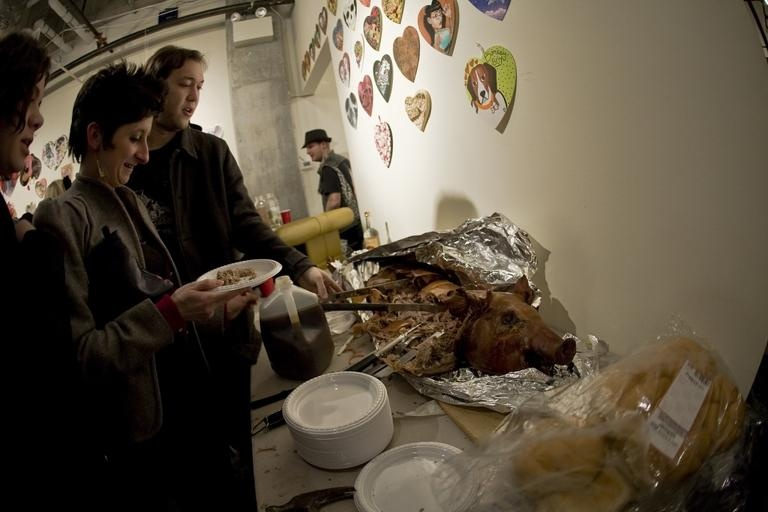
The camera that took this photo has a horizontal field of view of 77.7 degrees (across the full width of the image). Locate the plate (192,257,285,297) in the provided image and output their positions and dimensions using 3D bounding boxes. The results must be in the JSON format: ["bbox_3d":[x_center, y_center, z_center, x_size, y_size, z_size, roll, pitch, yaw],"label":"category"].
[{"bbox_3d":[-0.548,0.031,1.837,0.259,0.153,0.302,10,14,42],"label":"plate"}]

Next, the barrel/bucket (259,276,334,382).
[{"bbox_3d":[-0.311,0.257,1.790,0.207,0.409,0.225,1,15,0],"label":"barrel/bucket"}]

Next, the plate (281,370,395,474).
[{"bbox_3d":[-0.151,0.443,1.474,0.293,0.270,0.297,-1,10,-20],"label":"plate"}]

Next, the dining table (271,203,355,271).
[{"bbox_3d":[-0.551,-0.194,3.742,0.422,0.505,0.530,-6,14,-28],"label":"dining table"}]
